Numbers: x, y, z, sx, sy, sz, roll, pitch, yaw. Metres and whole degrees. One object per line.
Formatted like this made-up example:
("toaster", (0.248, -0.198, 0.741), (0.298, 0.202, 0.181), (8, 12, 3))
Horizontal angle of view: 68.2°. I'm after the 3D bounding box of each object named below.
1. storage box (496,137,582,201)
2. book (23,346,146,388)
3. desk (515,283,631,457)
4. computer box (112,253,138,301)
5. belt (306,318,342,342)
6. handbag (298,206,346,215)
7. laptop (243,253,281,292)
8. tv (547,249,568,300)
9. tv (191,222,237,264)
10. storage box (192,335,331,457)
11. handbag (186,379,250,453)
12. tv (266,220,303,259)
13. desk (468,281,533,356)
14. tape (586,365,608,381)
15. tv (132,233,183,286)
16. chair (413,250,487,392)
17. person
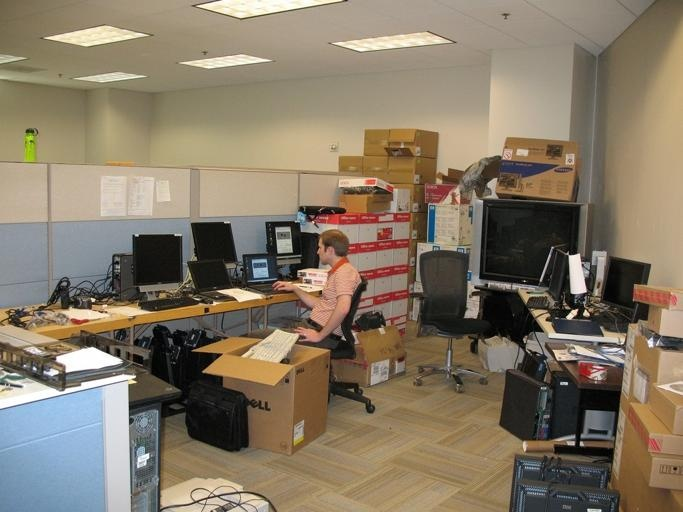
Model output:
("storage box", (2.101, -0.922, 5.357), (0.833, 0.590, 0.420), (7, -1, 14))
("book", (-0.932, 0.396, 1.803), (0.202, 0.052, 0.203), (16, 13, 38))
("desk", (1.592, 0.783, 3.424), (0.421, 0.276, 1.269), (2, 7, 10))
("computer box", (-1.695, 0.154, 4.066), (0.236, 0.325, 0.216), (-4, 10, -34))
("belt", (-0.159, 0.604, 4.156), (0.169, 0.199, 0.086), (11, 35, 40))
("handbag", (-0.187, -0.501, 5.556), (0.533, 0.092, 0.214), (-3, 10, -33))
("laptop", (-0.722, 0.146, 4.732), (0.329, 0.274, 0.418), (3, 2, 44))
("tv", (1.901, 0.159, 4.424), (0.189, 0.443, 0.489), (2, 4, 11))
("tv", (-1.152, -0.135, 4.605), (0.039, 0.405, 0.474), (-15, -6, 35))
("storage box", (-0.592, 0.983, 3.641), (0.837, 0.491, 0.764), (5, 7, 27))
("handbag", (-0.843, 1.118, 3.501), (0.575, 0.427, 0.205), (8, 8, 34))
("tv", (-0.576, -0.176, 5.130), (0.469, 0.394, 0.043), (0, 5, 34))
("desk", (1.830, 0.652, 5.690), (0.769, 0.642, 0.717), (9, 13, 39))
("tape", (1.439, 0.655, 2.835), (0.062, 0.034, 0.109), (5, 9, 27))
("tv", (-1.468, 0.028, 4.076), (0.512, 0.414, 0.050), (-1, 0, 23))
("chair", (1.053, 0.545, 4.719), (1.093, 1.193, 1.006), (2, 3, 9))
("person", (-0.330, 0.179, 4.513), (1.142, 1.429, 0.827), (6, 13, 14))
